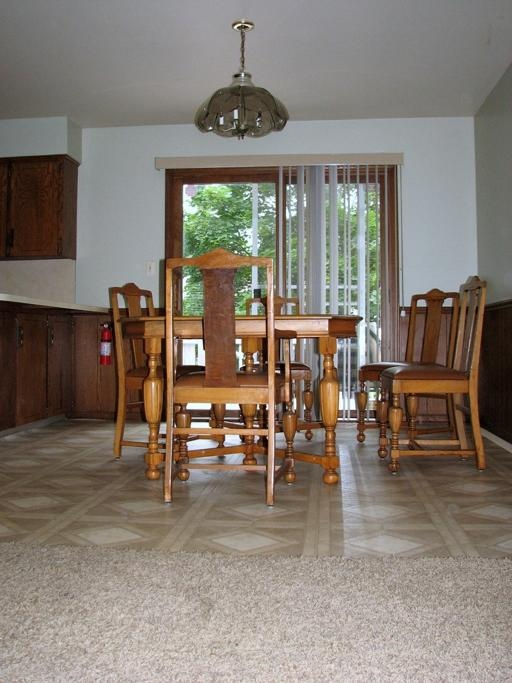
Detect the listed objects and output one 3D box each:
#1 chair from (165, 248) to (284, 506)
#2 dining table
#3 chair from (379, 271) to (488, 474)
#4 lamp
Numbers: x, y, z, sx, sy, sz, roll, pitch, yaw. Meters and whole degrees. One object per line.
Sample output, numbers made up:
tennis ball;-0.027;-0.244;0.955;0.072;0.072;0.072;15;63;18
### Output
chair;-0.137;0.107;2.555;0.548;1.064;1.208;0;-3;-4
dining table;-0.045;0.095;2.619;1.364;0.867;0.733;1;3;5
chair;1.017;0.161;3.164;0.651;0.987;1.331;-1;-3;12
lamp;-0.062;-1.373;2.887;0.508;0.521;0.494;1;7;17
